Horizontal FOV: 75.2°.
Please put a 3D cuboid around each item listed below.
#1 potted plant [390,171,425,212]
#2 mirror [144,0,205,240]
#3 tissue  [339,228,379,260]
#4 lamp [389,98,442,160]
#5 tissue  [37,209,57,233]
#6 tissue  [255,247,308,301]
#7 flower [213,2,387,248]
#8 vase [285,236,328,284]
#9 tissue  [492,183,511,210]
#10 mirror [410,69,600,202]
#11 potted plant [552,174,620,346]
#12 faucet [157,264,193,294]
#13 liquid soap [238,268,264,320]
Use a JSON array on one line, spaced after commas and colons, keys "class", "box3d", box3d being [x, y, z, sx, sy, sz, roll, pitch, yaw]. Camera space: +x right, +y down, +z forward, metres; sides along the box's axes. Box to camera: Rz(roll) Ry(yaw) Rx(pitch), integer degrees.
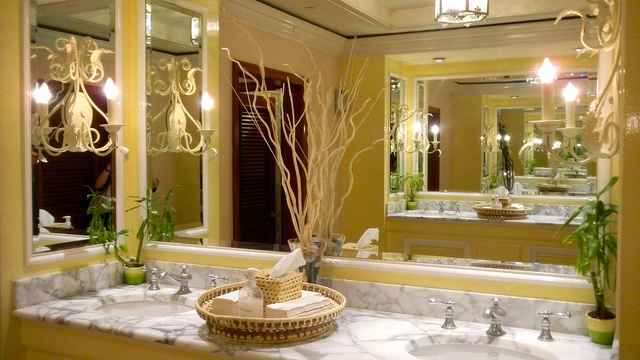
[{"class": "potted plant", "box3d": [0.544, 0.068, 2.533, 0.288, 0.245, 0.092, 0, -3, 10]}, {"class": "mirror", "box3d": [-1.069, -0.471, 3.013, 0.490, 1.673, 0.120, 3, 3, 24]}, {"class": "tissue ", "box3d": [0.270, 0.406, 2.692, 0.213, 0.188, 0.200, 1, -2, 27]}, {"class": "lamp", "box3d": [0.551, -0.302, 2.608, 0.293, 0.289, 0.277, 8, 8, -21]}, {"class": "tissue ", "box3d": [-1.737, 0.259, 2.641, 0.106, 0.101, 0.128, 2, -6, -26]}, {"class": "tissue ", "box3d": [-0.298, 0.551, 2.514, 0.279, 0.343, 0.306, 4, -8, -40]}, {"class": "flower", "box3d": [-0.107, -0.321, 2.697, 0.994, 1.461, 0.263, 3, 3, 29]}, {"class": "vase", "box3d": [-0.053, 0.496, 2.703, 0.281, 0.319, 0.287, -2, 1, -44]}, {"class": "tissue ", "box3d": [1.057, 0.102, 2.401, 0.123, 0.157, 0.127, -5, -7, 29]}, {"class": "mirror", "box3d": [1.098, -0.255, 2.364, 0.914, 0.559, 0.039, -1, -2, 25]}, {"class": "potted plant", "box3d": [1.467, 0.420, 2.216, 0.260, 0.876, 0.219, 1, 3, -10]}, {"class": "faucet", "box3d": [-1.006, 0.672, 2.888, 0.322, 0.170, 0.172, 3, 3, 40]}, {"class": "liquid soap", "box3d": [-0.385, 0.617, 2.279, 0.132, 0.251, 0.148, 1, 3, -23]}]
